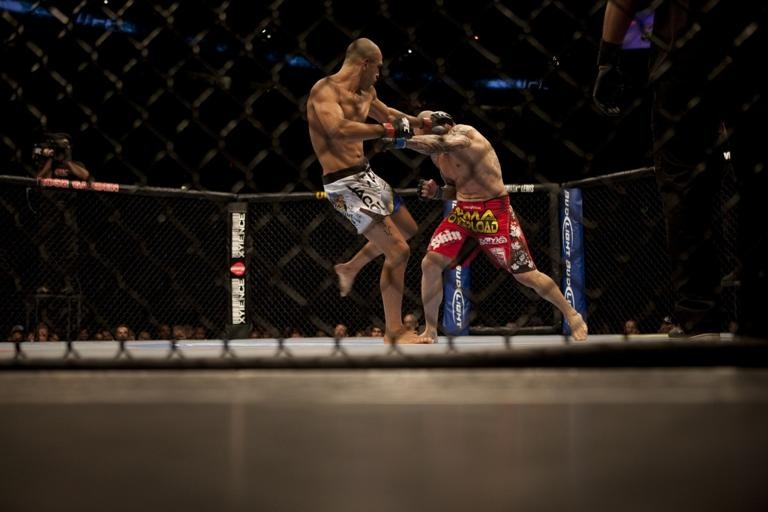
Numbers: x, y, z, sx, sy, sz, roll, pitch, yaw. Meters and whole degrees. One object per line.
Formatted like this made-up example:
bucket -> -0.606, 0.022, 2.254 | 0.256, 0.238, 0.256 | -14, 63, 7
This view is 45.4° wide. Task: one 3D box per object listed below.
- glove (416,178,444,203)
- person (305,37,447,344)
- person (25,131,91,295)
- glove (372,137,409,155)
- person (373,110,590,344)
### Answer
glove -> 0.313, -0.421, 6.007 | 0.273, 0.148, 0.145 | 2, 1, -23
person -> -0.104, -0.397, 5.374 | 0.730, 1.801, 1.111 | 0, -2, 1
person -> -2.488, -0.336, 6.788 | 0.406, 1.225, 1.705 | 1, -2, -22
glove -> 0.051, -0.584, 4.860 | 0.233, 0.078, 0.158 | -5, 8, -9
person -> 0.651, -0.172, 5.762 | 1.687, 1.349, 0.754 | 4, -10, -17
